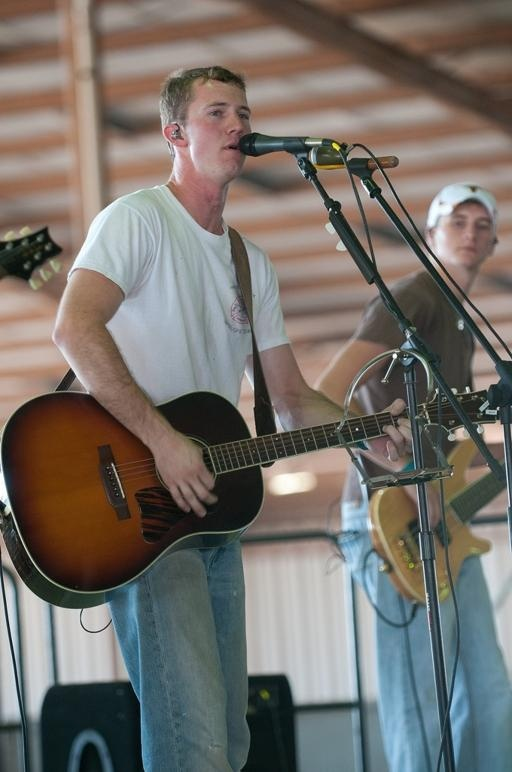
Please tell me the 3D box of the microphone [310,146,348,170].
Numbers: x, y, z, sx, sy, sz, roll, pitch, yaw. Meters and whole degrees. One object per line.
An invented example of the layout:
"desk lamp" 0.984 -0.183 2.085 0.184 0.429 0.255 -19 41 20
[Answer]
"microphone" 0.190 -0.624 2.928 0.075 0.066 0.116 -7 -10 -10

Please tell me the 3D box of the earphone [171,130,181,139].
"earphone" -0.240 -0.762 3.218 0.027 0.027 0.009 5 -3 7
